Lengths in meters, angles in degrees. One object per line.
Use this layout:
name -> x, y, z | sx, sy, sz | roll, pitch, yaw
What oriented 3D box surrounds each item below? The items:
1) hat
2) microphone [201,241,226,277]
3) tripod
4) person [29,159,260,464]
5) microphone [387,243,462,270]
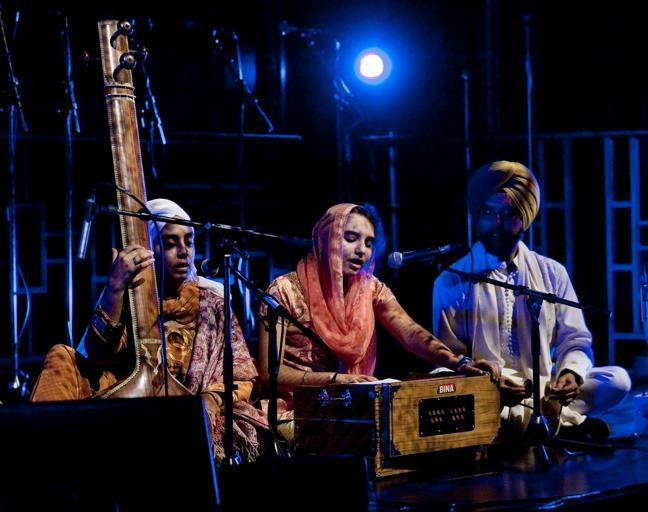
hat -> 1.155, -0.387, 6.560 | 0.386, 0.427, 0.463 | 0, -12, -1
microphone -> -0.573, 0.015, 5.171 | 0.099, 0.153, 0.190 | 2, -6, -15
tripod -> 1.198, 0.632, 6.176 | 1.152, 1.147, 0.912 | 3, 3, 34
person -> -0.957, 0.419, 5.436 | 1.310, 1.466, 0.936 | 1, 2, -19
microphone -> 0.615, -0.004, 6.153 | 0.320, 0.084, 0.090 | -15, 29, -10
